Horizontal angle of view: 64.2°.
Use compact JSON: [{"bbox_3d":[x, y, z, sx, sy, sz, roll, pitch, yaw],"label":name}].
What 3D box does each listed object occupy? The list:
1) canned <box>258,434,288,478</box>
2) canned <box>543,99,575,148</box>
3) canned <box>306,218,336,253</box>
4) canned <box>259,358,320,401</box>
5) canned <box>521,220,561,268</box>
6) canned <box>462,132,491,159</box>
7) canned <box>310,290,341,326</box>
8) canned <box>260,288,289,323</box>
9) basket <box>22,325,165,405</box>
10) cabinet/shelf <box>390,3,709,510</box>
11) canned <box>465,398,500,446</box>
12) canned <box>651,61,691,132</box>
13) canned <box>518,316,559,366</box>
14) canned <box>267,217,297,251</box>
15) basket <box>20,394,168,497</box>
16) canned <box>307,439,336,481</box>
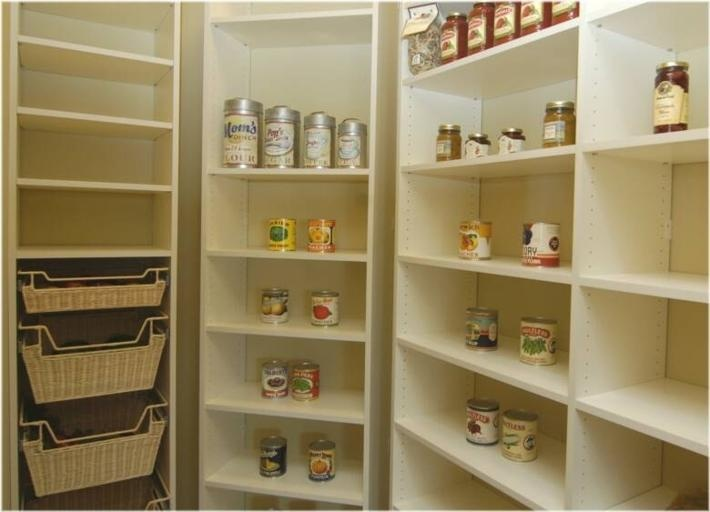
[{"bbox_3d":[-0.328,0.835,2.380,0.146,0.145,0.142,0,0,-4],"label":"canned"},{"bbox_3d":[0.662,-0.428,1.812,0.087,0.162,0.161,3,6,36],"label":"canned"},{"bbox_3d":[-0.135,-0.082,2.258,0.108,0.129,0.130,0,5,16],"label":"canned"},{"bbox_3d":[-0.276,0.529,2.437,0.256,0.150,0.137,2,3,2],"label":"canned"},{"bbox_3d":[0.595,-0.035,1.805,0.135,0.167,0.127,0,1,41],"label":"canned"},{"bbox_3d":[0.429,-0.389,2.014,0.111,0.101,0.105,-1,5,-17],"label":"canned"},{"bbox_3d":[-0.123,0.219,2.387,0.133,0.137,0.130,1,3,-3],"label":"canned"},{"bbox_3d":[-0.349,0.206,2.396,0.100,0.141,0.137,-3,6,-23],"label":"canned"},{"bbox_3d":[-1.047,0.400,2.295,0.495,0.249,0.315,2,-6,-33],"label":"basket"},{"bbox_3d":[0.648,0.110,1.884,0.534,1.750,1.067,-5,7,-39],"label":"cabinet/shelf"},{"bbox_3d":[0.455,0.598,2.085,0.143,0.149,0.143,1,2,26],"label":"canned"},{"bbox_3d":[0.859,-0.432,1.540,0.083,0.190,0.085,2,6,27],"label":"canned"},{"bbox_3d":[0.619,0.291,1.906,0.155,0.181,0.107,0,-3,42],"label":"canned"},{"bbox_3d":[-0.305,-0.087,2.279,0.127,0.129,0.109,1,6,21],"label":"canned"},{"bbox_3d":[-1.068,0.742,2.324,0.499,0.303,0.347,2,-4,-33],"label":"basket"},{"bbox_3d":[-0.133,0.857,2.409,0.144,0.149,0.142,0,1,10],"label":"canned"}]
